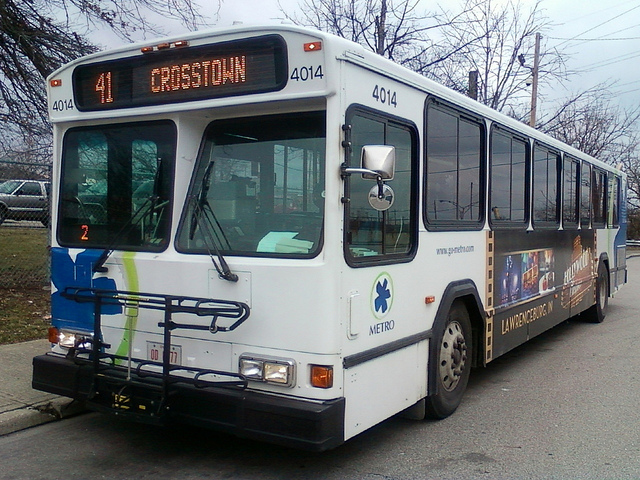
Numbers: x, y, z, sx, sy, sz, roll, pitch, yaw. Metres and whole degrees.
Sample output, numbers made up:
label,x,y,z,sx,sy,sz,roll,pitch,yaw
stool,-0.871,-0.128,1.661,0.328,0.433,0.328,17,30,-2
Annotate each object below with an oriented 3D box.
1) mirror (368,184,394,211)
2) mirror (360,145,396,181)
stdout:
label,x,y,z,sx,sy,sz,roll,pitch,yaw
mirror,0.527,-0.388,5.336,0.189,0.231,0.276,4,9,14
mirror,0.475,-0.669,5.160,0.370,0.346,0.177,1,-4,7
